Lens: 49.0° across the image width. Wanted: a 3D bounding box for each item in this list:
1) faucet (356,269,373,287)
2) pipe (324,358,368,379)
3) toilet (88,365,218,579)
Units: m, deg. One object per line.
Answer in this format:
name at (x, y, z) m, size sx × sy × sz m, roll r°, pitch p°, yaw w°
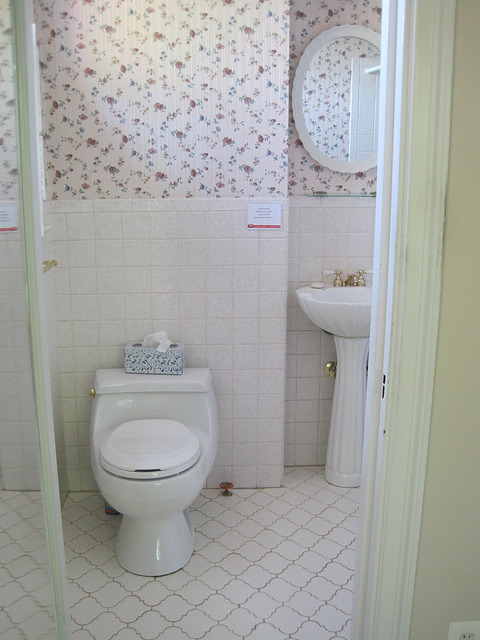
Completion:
faucet at (0.571, -0.197, 2.489) m, size 0.100 × 0.106 × 0.063 m, roll -1°, pitch 12°, yaw 3°
pipe at (0.480, 0.236, 2.540) m, size 0.130 × 0.065 × 0.094 m, roll -3°, pitch 23°, yaw 26°
toilet at (-0.351, 0.590, 2.129) m, size 0.500 × 0.690 × 0.720 m, roll 0°, pitch 11°, yaw -3°
